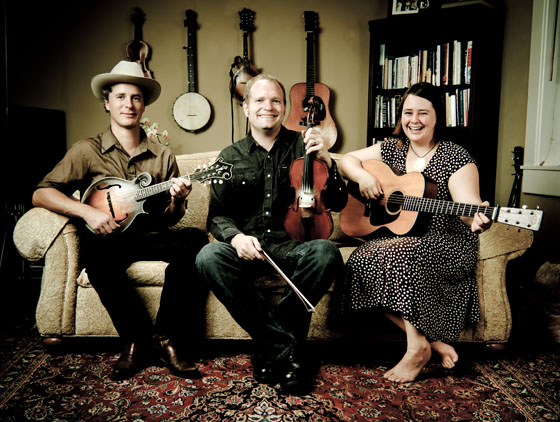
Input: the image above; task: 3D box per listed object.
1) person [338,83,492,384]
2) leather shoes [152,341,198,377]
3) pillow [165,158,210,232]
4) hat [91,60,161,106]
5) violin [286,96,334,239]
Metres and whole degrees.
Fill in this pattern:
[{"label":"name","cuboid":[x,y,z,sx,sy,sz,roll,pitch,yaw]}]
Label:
[{"label":"person","cuboid":[0.727,0.066,2.658,0.777,1.508,0.716,7,14,33]},{"label":"leather shoes","cuboid":[-0.541,0.757,2.535,0.250,0.184,0.065,5,13,26]},{"label":"pillow","cuboid":[-0.540,-0.127,3.035,0.395,0.407,0.094,-2,-1,4]},{"label":"hat","cuboid":[-0.934,-0.827,2.989,0.398,0.176,0.442,4,-5,-19]},{"label":"violin","cuboid":[0.149,-0.074,2.571,0.243,0.474,0.146,0,11,0]}]
